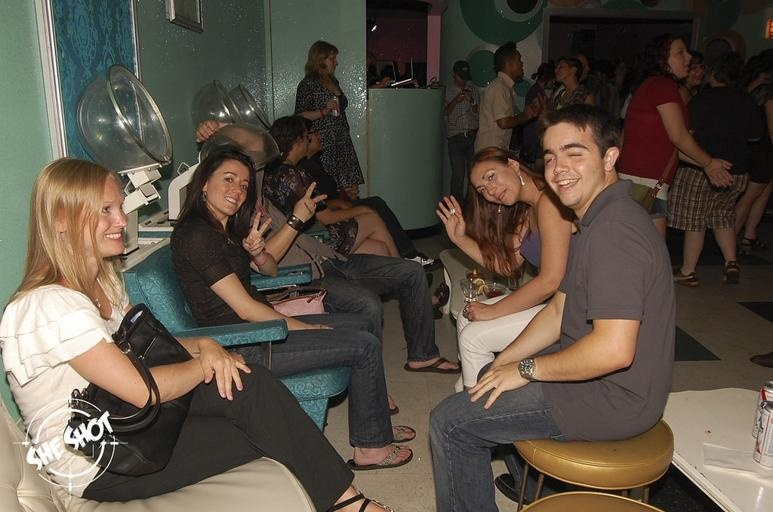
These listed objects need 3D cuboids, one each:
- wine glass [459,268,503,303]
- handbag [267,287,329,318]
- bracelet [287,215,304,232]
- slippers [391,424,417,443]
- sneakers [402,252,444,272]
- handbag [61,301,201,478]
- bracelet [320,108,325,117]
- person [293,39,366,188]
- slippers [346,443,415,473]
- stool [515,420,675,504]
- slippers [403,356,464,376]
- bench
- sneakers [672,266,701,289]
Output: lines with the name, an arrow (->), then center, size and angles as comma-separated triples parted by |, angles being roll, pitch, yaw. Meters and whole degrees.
wine glass -> 0.529, 0.168, 3.026 | 0.218, 0.092, 0.194 | 6, 6, 29
handbag -> -0.470, 0.244, 2.850 | 0.221, 0.078, 0.166 | -3, 5, -6
bracelet -> -0.505, -0.185, 2.975 | 0.071, 0.052, 0.080 | 27, -3, 22
slippers -> 0.089, 0.928, 2.812 | 0.132, 0.042, 0.071 | -4, 14, -11
sneakers -> 0.291, 0.065, 4.326 | 0.427, 0.172, 0.142 | 1, 25, -3
handbag -> -0.892, 0.484, 1.859 | 0.281, 0.353, 0.513 | -19, 36, 33
bracelet -> -0.569, -1.286, 4.800 | 0.067, 0.063, 0.015 | 11, 7, 27
person -> -0.494, -1.180, 5.122 | 0.627, 1.528, 0.583 | 17, 37, 28
slippers -> -0.024, 0.983, 2.654 | 0.272, 0.063, 0.131 | -4, 15, -4
stool -> 0.780, 0.720, 2.057 | 0.368, 0.391, 0.363 | -3, 16, -3
slippers -> 0.302, 0.677, 3.365 | 0.319, 0.074, 0.126 | -1, 5, 4
bench -> 0.546, 0.107, 3.641 | 0.431, 0.187, 0.747 | -3, 30, -13
sneakers -> 2.456, 0.180, 4.423 | 0.131, 0.144, 0.340 | -2, 9, -8
